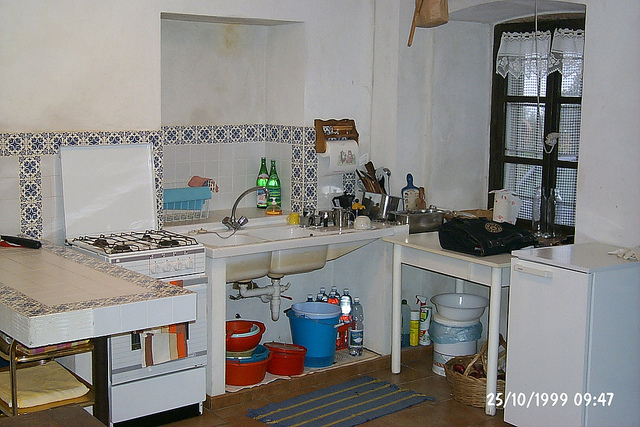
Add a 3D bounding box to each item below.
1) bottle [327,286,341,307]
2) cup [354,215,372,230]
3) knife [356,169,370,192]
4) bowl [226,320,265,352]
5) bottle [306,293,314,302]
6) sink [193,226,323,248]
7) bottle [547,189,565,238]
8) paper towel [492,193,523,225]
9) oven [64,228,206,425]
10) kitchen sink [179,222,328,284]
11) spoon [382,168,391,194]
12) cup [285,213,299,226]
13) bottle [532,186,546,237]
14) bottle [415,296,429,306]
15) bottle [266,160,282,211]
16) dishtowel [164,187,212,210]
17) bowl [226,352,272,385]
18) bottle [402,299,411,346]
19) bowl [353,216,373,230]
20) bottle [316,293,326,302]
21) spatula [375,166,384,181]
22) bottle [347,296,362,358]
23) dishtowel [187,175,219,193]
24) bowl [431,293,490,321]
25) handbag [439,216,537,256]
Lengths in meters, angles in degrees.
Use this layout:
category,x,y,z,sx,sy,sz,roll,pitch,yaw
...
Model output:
category,x,y,z,sx,sy,sz,roll,pitch,yaw
bottle,0.132,0.717,4.685,0.109,0.149,0.201,2,9,22
cup,0.349,0.070,4.426,0.109,0.072,0.108,1,3,0
knife,0.392,-0.307,4.837,0.024,0.219,0.030,-30,0,-34
bowl,-0.557,0.943,4.132,0.193,0.079,0.177,2,6,0
bottle,-0.076,0.727,4.695,0.060,0.103,0.057,1,22,-1
sink,-0.486,0.176,4.270,0.962,0.096,0.342,-4,9,-15
bottle,1.999,-0.002,4.593,0.136,0.405,0.474,2,9,24
paper towel,1.603,-0.041,4.613,0.191,0.247,0.207,3,1,-32
oven,-1.079,0.792,3.652,0.994,1.251,0.717,6,12,44
kitchen sink,-0.422,0.388,4.266,0.938,0.291,0.606,-5,-5,-25
spoon,0.591,-0.288,4.795,0.065,0.239,0.149,-1,8,6
cup,-0.233,0.043,4.555,0.158,0.101,0.066,3,10,30
bottle,1.837,-0.022,4.542,0.104,0.395,0.188,2,9,22
bottle,0.943,0.788,5.000,0.101,0.084,0.093,-7,12,-19
bottle,-0.400,-0.250,4.780,0.124,0.441,0.177,-2,8,-4
dishtowel,-1.055,-0.126,4.335,0.197,0.125,0.274,-3,3,-29
bowl,-0.518,1.244,4.222,0.451,0.179,0.450,3,-28,1
bottle,0.783,0.978,4.904,0.071,0.388,0.185,-1,8,9
bowl,0.355,0.077,4.478,0.116,0.072,0.115,1,5,0
bottle,0.020,0.726,4.705,0.058,0.080,0.079,0,-2,2
spatula,0.517,-0.364,4.779,0.032,0.094,0.070,7,24,-25
bottle,0.301,0.995,4.635,0.121,0.424,0.145,-1,8,7
dishtowel,-0.999,-0.242,4.512,0.163,0.064,0.165,17,17,37
bowl,1.146,0.780,4.513,0.432,0.158,0.376,5,11,38
handbag,1.167,0.086,3.943,0.344,0.165,0.422,-12,16,-41
